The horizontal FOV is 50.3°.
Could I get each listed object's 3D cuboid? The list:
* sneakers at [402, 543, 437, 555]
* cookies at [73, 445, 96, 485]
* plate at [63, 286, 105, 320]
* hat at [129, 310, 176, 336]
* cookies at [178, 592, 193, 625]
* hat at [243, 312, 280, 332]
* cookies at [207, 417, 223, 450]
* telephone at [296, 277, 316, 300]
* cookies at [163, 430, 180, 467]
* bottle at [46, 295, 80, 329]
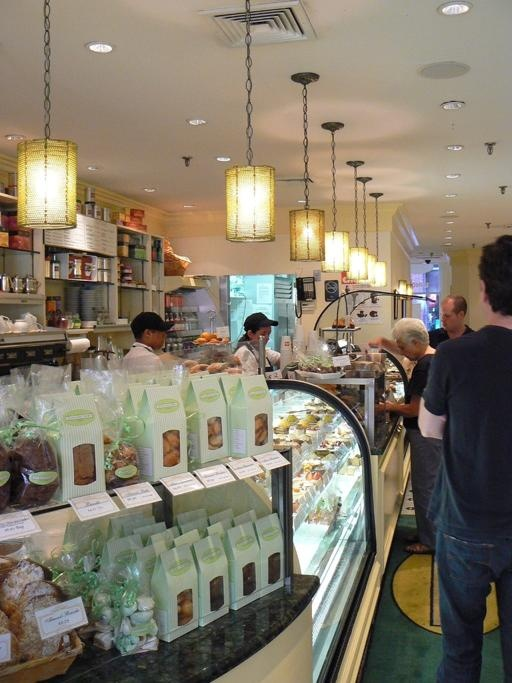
[{"bbox_3d":[1.061,1.335,3.537,0.182,0.071,0.065,6,-1,18],"label":"sneakers"},{"bbox_3d":[-0.295,0.211,0.927,0.011,0.068,0.045,-1,4,36],"label":"cookies"},{"bbox_3d":[-1.792,-0.393,5.629,0.407,0.409,0.392,1,3,10],"label":"plate"},{"bbox_3d":[-0.695,-0.112,3.647,0.246,0.131,0.153,-19,16,-14],"label":"hat"},{"bbox_3d":[-0.154,0.575,1.171,0.007,0.081,0.055,-2,4,28],"label":"cookies"},{"bbox_3d":[0.039,-0.132,4.347,0.237,0.115,0.148,-16,6,11],"label":"hat"},{"bbox_3d":[-0.095,0.214,1.258,0.005,0.075,0.058,-2,4,30],"label":"cookies"},{"bbox_3d":[0.710,-0.741,7.701,0.254,0.317,0.110,0,3,1],"label":"telephone"},{"bbox_3d":[-0.173,0.221,1.112,0.011,0.075,0.051,-2,4,27],"label":"cookies"},{"bbox_3d":[-1.791,-0.267,5.191,0.403,0.395,0.235,0,2,-12],"label":"bottle"}]
